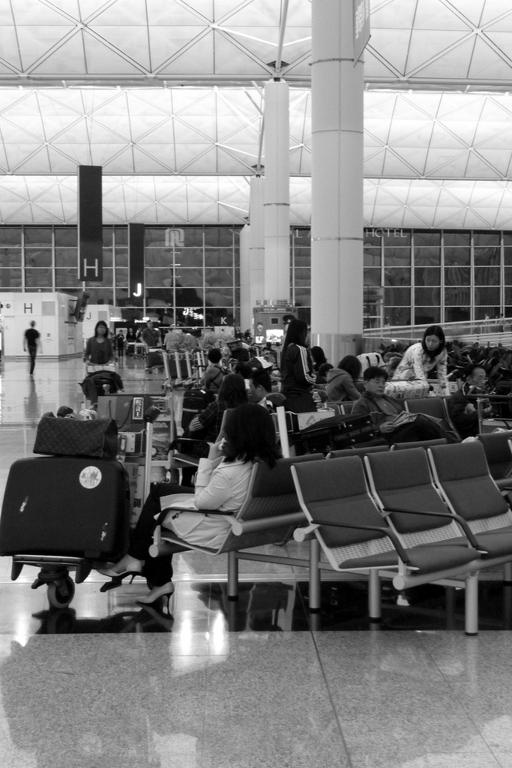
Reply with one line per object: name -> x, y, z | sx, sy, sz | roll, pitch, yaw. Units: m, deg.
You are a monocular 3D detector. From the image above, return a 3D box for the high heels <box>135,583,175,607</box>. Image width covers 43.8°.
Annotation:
high heels -> -0.761, 1.566, 4.766 | 0.247, 0.100, 0.150 | -20, 3, 18

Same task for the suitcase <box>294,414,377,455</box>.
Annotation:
suitcase -> 0.727, 0.418, 6.346 | 0.485, 0.240, 0.580 | -15, 8, -35
